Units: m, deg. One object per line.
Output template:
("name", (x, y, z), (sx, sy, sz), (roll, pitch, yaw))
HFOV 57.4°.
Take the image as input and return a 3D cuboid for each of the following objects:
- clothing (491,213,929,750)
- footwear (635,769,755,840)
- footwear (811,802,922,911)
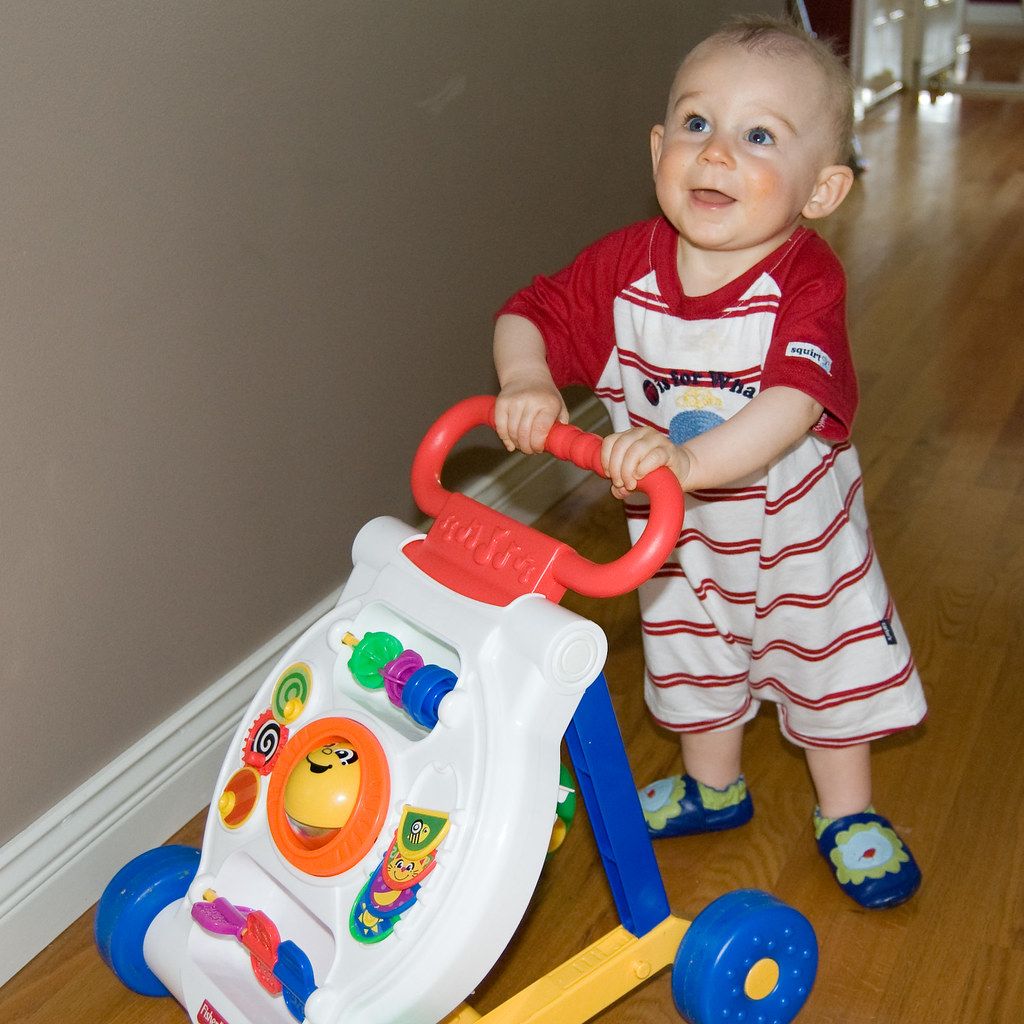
("clothing", (0.182, 0.015, 0.904), (0.359, 0.572, 0.282), (17, 46, 38))
("footwear", (0.194, 0.326, 1.030), (0.156, 0.073, 0.089), (1, 6, 0))
("footwear", (0.349, 0.345, 0.954), (0.074, 0.044, 0.139), (-22, 29, 1))
